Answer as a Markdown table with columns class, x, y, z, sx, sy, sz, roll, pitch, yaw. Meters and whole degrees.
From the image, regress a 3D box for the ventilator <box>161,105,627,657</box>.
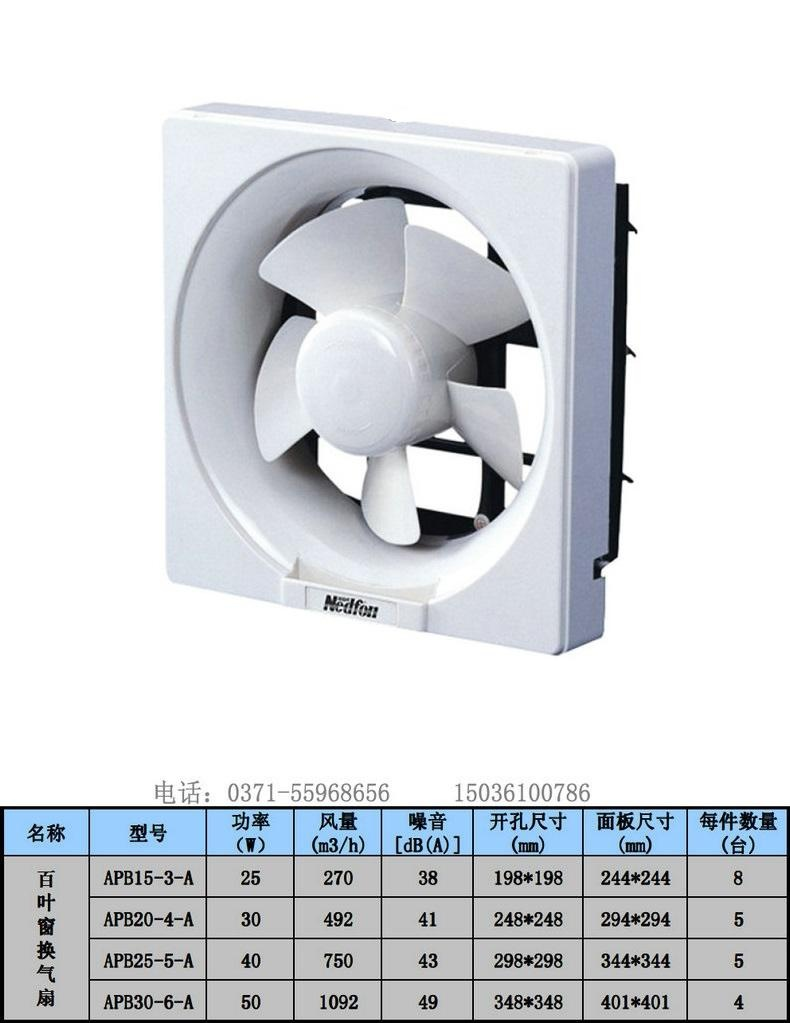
| class | x | y | z | sx | sy | sz | roll | pitch | yaw |
| --- | --- | --- | --- | --- | --- | --- | --- | --- | --- |
| ventilator | 0.003 | -0.463 | 3.548 | 1.585 | 1.589 | 0.636 | 6 | 13 | 27 |
